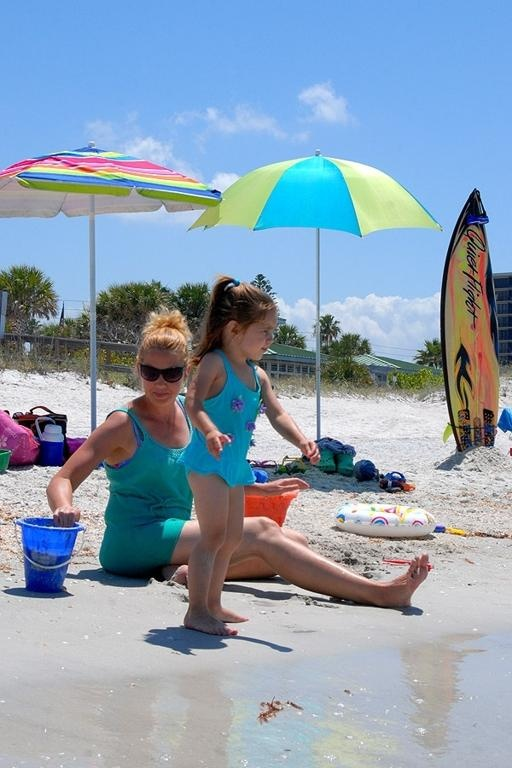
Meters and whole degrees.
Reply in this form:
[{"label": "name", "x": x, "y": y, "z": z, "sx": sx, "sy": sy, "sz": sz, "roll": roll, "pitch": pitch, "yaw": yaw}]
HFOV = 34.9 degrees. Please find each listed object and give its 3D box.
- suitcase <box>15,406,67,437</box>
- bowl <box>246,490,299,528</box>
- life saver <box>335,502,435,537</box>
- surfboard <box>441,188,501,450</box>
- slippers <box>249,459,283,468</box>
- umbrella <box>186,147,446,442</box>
[{"label": "suitcase", "x": -1.837, "y": 0.319, "z": 6.956, "sx": 0.353, "sy": 0.238, "sz": 0.349, "roll": 1, "pitch": 11, "yaw": -8}, {"label": "bowl", "x": 0.092, "y": 0.605, "z": 4.086, "sx": 0.286, "sy": 0.173, "sz": 0.282, "roll": -2, "pitch": -1, "yaw": 0}, {"label": "life saver", "x": 0.815, "y": 0.856, "z": 5.131, "sx": 0.574, "sy": 0.181, "sz": 0.681, "roll": -2, "pitch": 1, "yaw": 7}, {"label": "surfboard", "x": 2.435, "y": -0.783, "z": 9.386, "sx": 0.705, "sy": 2.837, "sz": 0.566, "roll": -5, "pitch": 8, "yaw": -25}, {"label": "slippers", "x": 0.082, "y": 0.772, "z": 7.559, "sx": 0.262, "sy": 0.087, "sz": 0.145, "roll": 0, "pitch": 6, "yaw": 2}, {"label": "umbrella", "x": 0.532, "y": -1.075, "z": 7.880, "sx": 2.377, "sy": 2.561, "sz": 2.270, "roll": -1, "pitch": 2, "yaw": -6}]
